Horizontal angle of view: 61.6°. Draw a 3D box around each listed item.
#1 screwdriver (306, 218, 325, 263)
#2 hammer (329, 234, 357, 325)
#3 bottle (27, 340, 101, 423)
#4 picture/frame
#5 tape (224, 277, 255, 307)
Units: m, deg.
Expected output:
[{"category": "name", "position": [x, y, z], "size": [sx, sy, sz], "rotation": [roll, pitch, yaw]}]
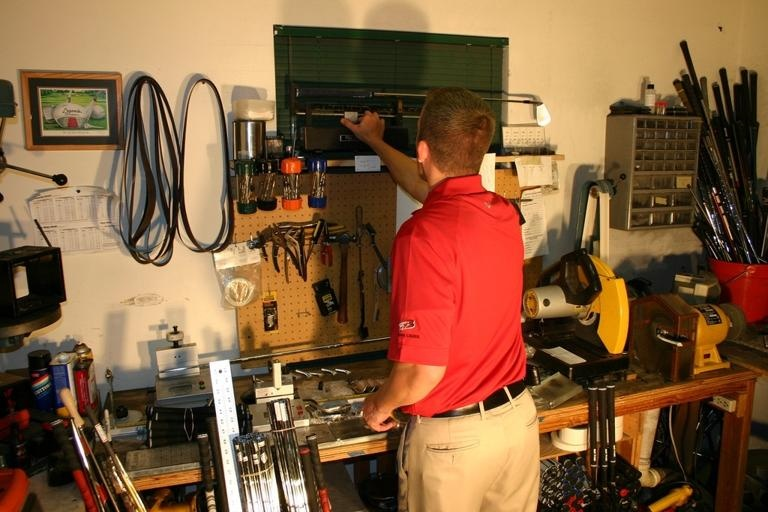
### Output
[{"category": "screwdriver", "position": [-0.410, -0.085, 3.862], "size": [0.058, 0.226, 0.142], "rotation": [25, 33, 27]}, {"category": "hammer", "position": [-0.253, 0.132, 3.921], "size": [0.084, 0.473, 0.152], "rotation": [1, 12, -12]}, {"category": "bottle", "position": [-1.695, 0.687, 3.446], "size": [0.313, 0.378, 0.193], "rotation": [-9, 8, -40]}, {"category": "picture/frame", "position": [-1.706, -0.806, 3.547], "size": [0.525, 0.441, 0.030], "rotation": [-5, 6, -9]}, {"category": "tape", "position": [-0.854, 0.217, 3.808], "size": [0.163, 0.170, 0.043], "rotation": [-16, 12, -7]}]
